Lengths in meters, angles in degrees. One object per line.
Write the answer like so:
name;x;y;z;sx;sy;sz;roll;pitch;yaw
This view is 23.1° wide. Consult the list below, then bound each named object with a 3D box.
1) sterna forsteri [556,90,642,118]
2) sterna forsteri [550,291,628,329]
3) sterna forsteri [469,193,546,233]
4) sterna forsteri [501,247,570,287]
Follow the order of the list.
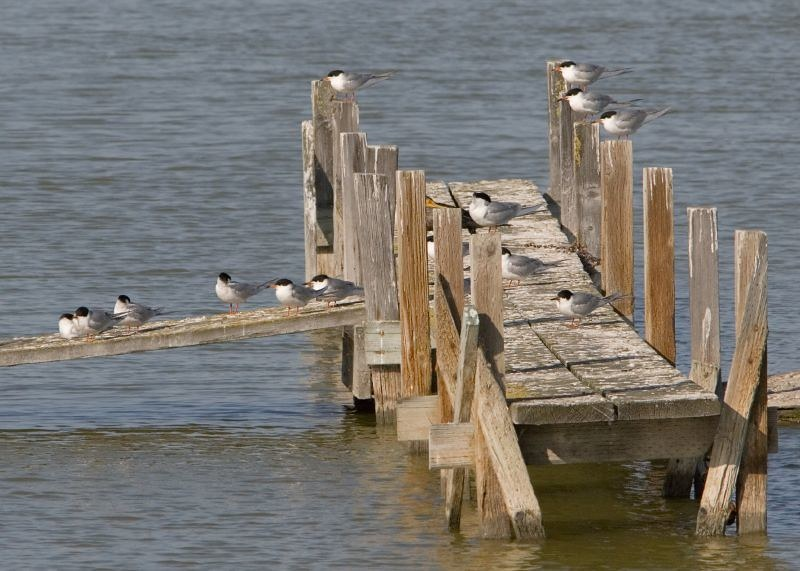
sterna forsteri;3.413;-3.217;34.319;1.147;0.492;0.941;-3;8;4
sterna forsteri;2.906;0.302;29.547;1.059;0.543;0.813;-3;8;8
sterna forsteri;1.701;-1.234;32.487;0.982;0.607;0.810;-4;8;2
sterna forsteri;1.986;-0.316;30.792;1.453;0.524;0.385;-7;11;-20
